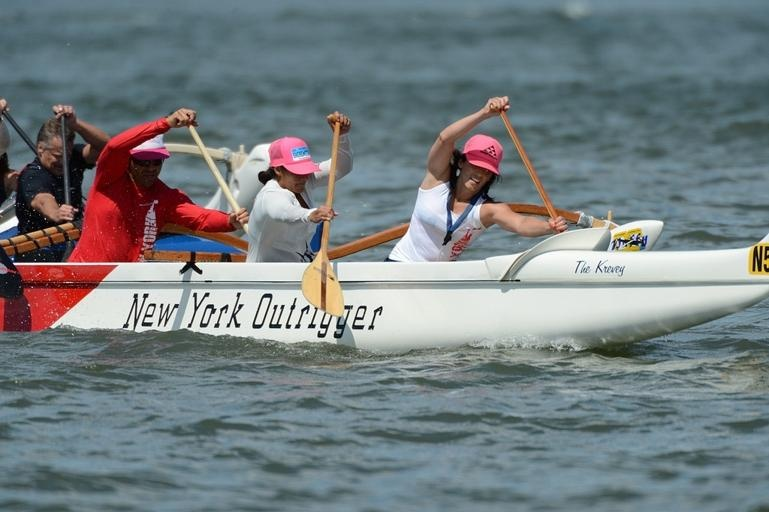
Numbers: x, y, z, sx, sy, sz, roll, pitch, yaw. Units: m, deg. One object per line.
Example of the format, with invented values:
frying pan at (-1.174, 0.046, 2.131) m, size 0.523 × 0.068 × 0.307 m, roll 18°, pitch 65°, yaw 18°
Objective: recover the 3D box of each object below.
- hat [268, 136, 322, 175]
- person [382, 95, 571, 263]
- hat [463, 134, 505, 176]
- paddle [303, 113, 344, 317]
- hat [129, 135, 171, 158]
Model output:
hat at (-0.842, -0.912, 11.840) m, size 0.486 × 0.186 × 0.320 m, roll 12°, pitch 16°, yaw 36°
person at (0.746, -0.588, 11.666) m, size 1.322 × 1.409 × 0.586 m, roll 6°, pitch 17°, yaw 7°
hat at (0.877, -0.894, 11.552) m, size 0.316 × 0.179 × 0.406 m, roll 17°, pitch 14°, yaw -25°
paddle at (-0.477, -0.284, 11.824) m, size 0.386 × 1.587 × 0.939 m, roll 5°, pitch 16°, yaw -3°
hat at (-2.077, -0.984, 11.863) m, size 0.324 × 0.221 × 0.180 m, roll 1°, pitch 16°, yaw -10°
